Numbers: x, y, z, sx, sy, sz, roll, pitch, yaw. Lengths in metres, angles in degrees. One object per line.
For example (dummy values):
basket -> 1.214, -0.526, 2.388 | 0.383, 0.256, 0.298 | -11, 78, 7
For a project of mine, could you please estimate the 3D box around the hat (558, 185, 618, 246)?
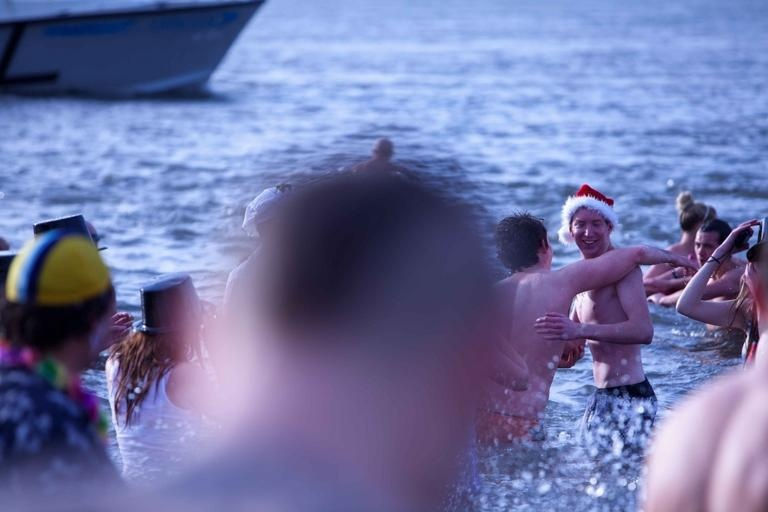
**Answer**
hat -> 3.472, -0.684, 20.169 | 0.981, 0.627, 1.053 | 8, -10, 8

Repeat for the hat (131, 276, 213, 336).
hat -> -3.254, 0.743, 18.338 | 0.839, 0.479, 1.027 | 10, 20, 38
